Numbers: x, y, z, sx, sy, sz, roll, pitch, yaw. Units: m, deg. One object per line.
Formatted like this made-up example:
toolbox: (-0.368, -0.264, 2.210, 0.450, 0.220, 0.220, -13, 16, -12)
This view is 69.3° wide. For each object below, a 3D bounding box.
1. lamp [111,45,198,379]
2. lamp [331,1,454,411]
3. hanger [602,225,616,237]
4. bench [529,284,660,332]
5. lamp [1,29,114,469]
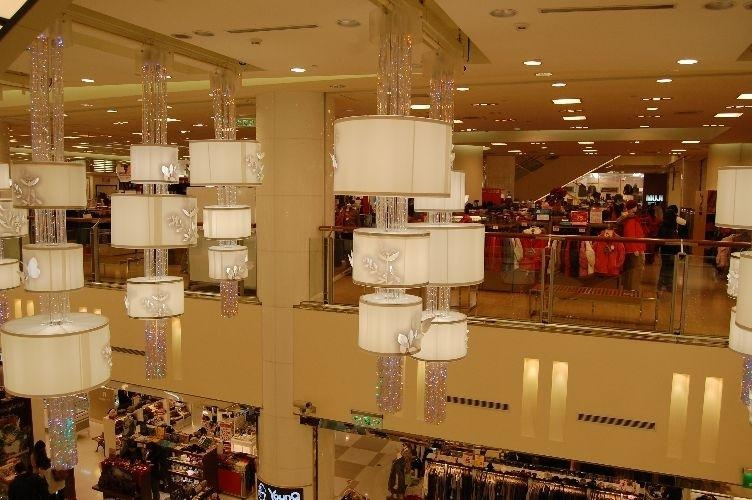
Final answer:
lamp: (-2.708, -0.397, 6.672, 0.921, 4.290, 1.024, -2, 4, -26)
lamp: (0.175, -0.344, 5.013, 1.031, 3.862, 0.833, 1, 4, 7)
hanger: (4.829, -0.378, 11.296, 0.287, 0.286, 0.539, -2, 9, 25)
bench: (3.609, 0.943, 9.040, 1.959, 0.646, 0.168, 2, 4, 18)
lamp: (-3.110, -0.015, 5.321, 0.896, 4.495, 1.285, -2, 4, -27)
